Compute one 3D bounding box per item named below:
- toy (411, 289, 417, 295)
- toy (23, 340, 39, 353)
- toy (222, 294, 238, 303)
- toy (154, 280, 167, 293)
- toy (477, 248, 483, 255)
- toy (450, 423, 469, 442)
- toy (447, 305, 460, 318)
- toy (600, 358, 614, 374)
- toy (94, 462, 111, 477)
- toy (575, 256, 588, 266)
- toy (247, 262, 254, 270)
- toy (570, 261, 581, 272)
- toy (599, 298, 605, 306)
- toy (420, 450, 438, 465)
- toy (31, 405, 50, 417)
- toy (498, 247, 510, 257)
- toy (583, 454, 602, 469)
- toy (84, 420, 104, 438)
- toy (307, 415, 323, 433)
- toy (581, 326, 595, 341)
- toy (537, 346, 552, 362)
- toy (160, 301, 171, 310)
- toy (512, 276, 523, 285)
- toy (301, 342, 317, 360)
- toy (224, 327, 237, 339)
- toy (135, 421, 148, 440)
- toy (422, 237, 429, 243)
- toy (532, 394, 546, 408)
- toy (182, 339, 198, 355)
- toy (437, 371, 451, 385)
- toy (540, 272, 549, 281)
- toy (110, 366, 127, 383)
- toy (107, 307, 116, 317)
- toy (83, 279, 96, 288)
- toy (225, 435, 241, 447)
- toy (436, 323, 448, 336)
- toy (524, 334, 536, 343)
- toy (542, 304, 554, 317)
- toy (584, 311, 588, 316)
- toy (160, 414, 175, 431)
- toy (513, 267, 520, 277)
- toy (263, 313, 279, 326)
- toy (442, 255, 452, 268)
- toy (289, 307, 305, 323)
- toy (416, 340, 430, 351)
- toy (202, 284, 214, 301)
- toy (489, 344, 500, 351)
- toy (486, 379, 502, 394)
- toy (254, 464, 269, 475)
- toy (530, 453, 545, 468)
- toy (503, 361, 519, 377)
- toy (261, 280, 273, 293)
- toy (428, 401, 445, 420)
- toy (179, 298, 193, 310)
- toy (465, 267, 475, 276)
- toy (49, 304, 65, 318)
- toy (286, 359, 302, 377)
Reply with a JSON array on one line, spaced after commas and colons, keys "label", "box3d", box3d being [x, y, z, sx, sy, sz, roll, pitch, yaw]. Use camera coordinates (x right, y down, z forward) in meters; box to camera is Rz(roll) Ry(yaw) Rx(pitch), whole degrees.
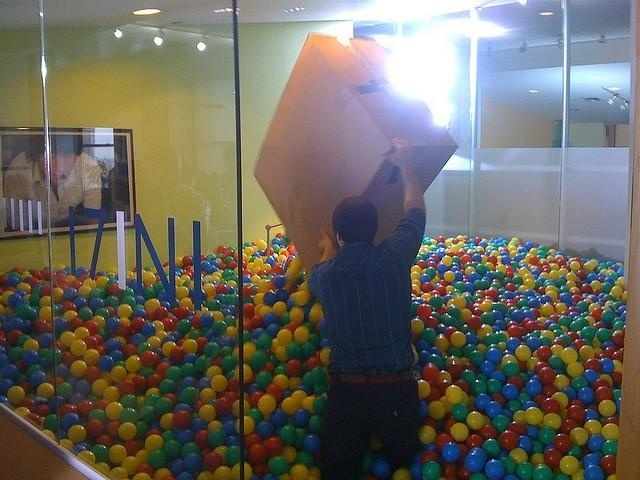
[{"label": "toy", "box3d": [0.528, 0.295, 2.973, 0.033, 0.022, 0.036, -5, -12, -10]}, {"label": "toy", "box3d": [-1.435, 0.510, 2.617, 0.062, 0.082, 0.064, -7, 18, -32]}, {"label": "toy", "box3d": [-0.316, 0.208, 1.853, 0.056, 0.036, 0.024, 7, 52, 47]}, {"label": "toy", "box3d": [-0.616, 0.180, 2.035, 0.037, 0.051, 0.040, -8, 9, -10]}, {"label": "toy", "box3d": [1.257, 0.090, 4.147, 0.032, 0.045, 0.035, -1, -3, -6]}, {"label": "toy", "box3d": [0.593, 0.821, 2.255, 0.063, 0.087, 0.069, 1, 5, 5]}, {"label": "toy", "box3d": [0.686, 0.366, 2.713, 0.043, 0.054, 0.058, 7, 7, -1]}, {"label": "toy", "box3d": [1.397, 0.612, 2.568, 0.056, 0.076, 0.060, -1, 1, -16]}, {"label": "toy", "box3d": [-0.901, 0.950, 2.193, 0.049, 0.028, 0.051, 34, -24, 12]}, {"label": "toy", "box3d": [2.016, 0.147, 4.089, 0.094, 0.061, 0.103, -2, 13, 2]}, {"label": "toy", "box3d": [-0.409, 0.148, 3.107, 0.030, 0.041, 0.032, 16, -33, -25]}, {"label": "toy", "box3d": [1.906, 0.195, 3.950, 0.060, 0.079, 0.067, -13, 20, 15]}, {"label": "toy", "box3d": [1.751, 0.386, 3.281, 0.018, 0.045, 0.044, 7, -38, 8]}, {"label": "toy", "box3d": [0.447, 0.891, 2.167, 0.047, 0.055, 0.060, 13, -24, -17]}, {"label": "toy", "box3d": [-1.321, 0.806, 2.494, 0.052, 0.049, 0.049, -6, 36, 28]}, {"label": "toy", "box3d": [1.473, 0.093, 4.228, 0.080, 0.042, 0.085, -23, -8, 15]}, {"label": "toy", "box3d": [1.110, 0.901, 2.159, 0.048, 0.055, 0.063, 14, -27, 12]}, {"label": "toy", "box3d": [-0.965, 0.806, 2.253, 0.066, 0.088, 0.071, 2, 15, -23]}, {"label": "toy", "box3d": [-0.023, 0.770, 2.201, 0.052, 0.074, 0.056, 0, 2, -16]}, {"label": "toy", "box3d": [1.438, 0.503, 2.830, 0.066, 0.092, 0.072, 2, 3, 3]}, {"label": "toy", "box3d": [1.099, 0.560, 2.591, 0.057, 0.078, 0.063, 2, 7, -2]}, {"label": "toy", "box3d": [-0.603, 0.254, 2.057, 0.019, 0.037, 0.036, -22, 52, -17]}, {"label": "toy", "box3d": [1.343, 0.275, 3.601, 0.049, 0.066, 0.051, -3, 5, -24]}, {"label": "toy", "box3d": [-0.053, 0.498, 2.382, 0.057, 0.078, 0.060, 0, 3, -7]}, {"label": "toy", "box3d": [-0.323, 0.320, 1.885, 0.038, 0.043, 0.049, 2, 30, -19]}, {"label": "toy", "box3d": [-0.739, 0.785, 2.186, 0.052, 0.071, 0.057, 1, -3, -14]}, {"label": "toy", "box3d": [0.831, -0.005, 4.164, 0.043, 0.057, 0.029, -13, 29, -33]}, {"label": "toy", "box3d": [0.997, 0.734, 2.407, 0.044, 0.059, 0.046, 1, 0, -23]}, {"label": "toy", "box3d": [-0.508, 0.414, 2.056, 0.018, 0.073, 0.112, -4, 6, -40]}, {"label": "toy", "box3d": [0.560, 0.619, 2.378, 0.042, 0.057, 0.047, 3, 25, 4]}, {"label": "toy", "box3d": [1.595, 0.253, 3.758, 0.051, 0.070, 0.056, 5, -2, 4]}, {"label": "toy", "box3d": [-0.873, 0.580, 2.282, 0.062, 0.085, 0.067, 5, 9, 11]}, {"label": "toy", "box3d": [-0.914, 0.316, 2.321, 0.041, 0.045, 0.022, 29, 26, 34]}, {"label": "toy", "box3d": [-1.020, 0.189, 2.323, 0.047, 0.052, 0.012, -12, -5, 31]}, {"label": "toy", "box3d": [-0.325, 0.743, 1.951, 0.049, 0.050, 0.060, -12, -19, -16]}, {"label": "toy", "box3d": [0.596, 0.439, 2.583, 0.038, 0.041, 0.041, -12, -41, 30]}, {"label": "toy", "box3d": [1.068, 0.500, 2.701, 0.040, 0.039, 0.035, -4, 3, 44]}, {"label": "toy", "box3d": [1.344, 0.415, 3.118, 0.057, 0.077, 0.062, -1, 7, -10]}, {"label": "toy", "box3d": [1.559, 0.432, 3.096, 0.019, 0.012, 0.021, -3, 7, 2]}, {"label": "toy", "box3d": [-0.629, 0.738, 2.169, 0.061, 0.085, 0.065, 7, -2, -20]}, {"label": "toy", "box3d": [1.420, 0.230, 3.804, 0.048, 0.057, 0.055, 2, -36, 34]}, {"label": "toy", "box3d": [-0.237, 0.365, 2.533, 0.055, 0.074, 0.058, -9, 19, -19]}, {"label": "toy", "box3d": [0.878, 0.143, 3.651, 0.056, 0.072, 0.060, -18, 35, -13]}, {"label": "toy", "box3d": [-0.110, 0.350, 2.457, 0.058, 0.080, 0.063, 1, 1, 20]}, {"label": "toy", "box3d": [0.487, 0.498, 2.493, 0.042, 0.053, 0.042, 13, 34, 38]}, {"label": "toy", "box3d": [-0.408, 0.187, 1.923, 0.043, 0.056, 0.048, 11, 34, -3]}, {"label": "toy", "box3d": [0.853, 0.522, 2.581, 0.032, 0.044, 0.035, 2, 3, 4]}, {"label": "toy", "box3d": [0.795, 0.664, 2.427, 0.052, 0.070, 0.054, -7, 2, -23]}, {"label": "toy", "box3d": [-0.235, 0.912, 2.094, 0.041, 0.056, 0.043, 4, -1, 32]}, {"label": "toy", "box3d": [0.910, 0.921, 2.209, 0.038, 0.050, 0.042, 3, 31, 6]}, {"label": "toy", "box3d": [0.895, 0.599, 2.505, 0.056, 0.075, 0.059, -4, 23, -29]}, {"label": "toy", "box3d": [-0.269, 0.233, 2.667, 0.041, 0.059, 0.053, -13, 38, 6]}, {"label": "toy", "box3d": [0.496, 0.742, 2.325, 0.067, 0.090, 0.075, 0, -32, -8]}, {"label": "toy", "box3d": [-0.507, 0.240, 1.991, 0.058, 0.045, 0.010, 1, 5, 23]}, {"label": "toy", "box3d": [0.996, 0.207, 3.528, 0.044, 0.061, 0.048, 3, -1, 20]}, {"label": "toy", "box3d": [-1.263, 0.337, 2.543, 0.058, 0.068, 0.063, 3, -11, -6]}, {"label": "toy", "box3d": [-0.118, 0.574, 2.353, 0.055, 0.074, 0.057, -1, 5, -25]}]
